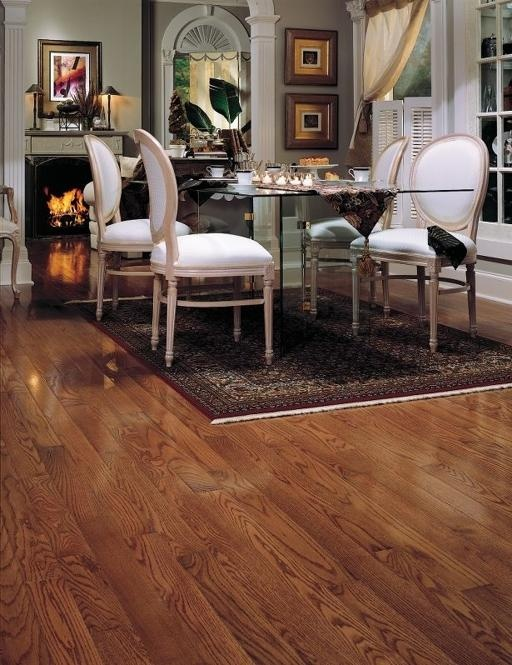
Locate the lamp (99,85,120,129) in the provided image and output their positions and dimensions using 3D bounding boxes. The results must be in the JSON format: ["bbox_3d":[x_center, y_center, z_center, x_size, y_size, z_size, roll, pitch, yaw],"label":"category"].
[{"bbox_3d":[-2.580,-3.984,9.212,0.309,0.726,0.333,0,6,1],"label":"lamp"}]

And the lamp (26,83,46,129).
[{"bbox_3d":[-3.753,-3.864,8.842,0.269,0.770,0.384,-2,7,-23],"label":"lamp"}]

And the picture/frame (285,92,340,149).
[{"bbox_3d":[0.605,-2.400,5.838,0.669,0.674,0.051,0,6,-21],"label":"picture/frame"}]

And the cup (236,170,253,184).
[{"bbox_3d":[-0.069,-0.987,3.297,0.103,0.074,0.087,-12,19,-35],"label":"cup"}]

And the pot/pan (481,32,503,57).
[{"bbox_3d":[1.899,-2.338,4.236,0.149,0.196,0.152,-1,15,2],"label":"pot/pan"}]

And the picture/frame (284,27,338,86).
[{"bbox_3d":[0.586,-3.074,5.754,0.671,0.683,0.054,-2,7,-16],"label":"picture/frame"}]
